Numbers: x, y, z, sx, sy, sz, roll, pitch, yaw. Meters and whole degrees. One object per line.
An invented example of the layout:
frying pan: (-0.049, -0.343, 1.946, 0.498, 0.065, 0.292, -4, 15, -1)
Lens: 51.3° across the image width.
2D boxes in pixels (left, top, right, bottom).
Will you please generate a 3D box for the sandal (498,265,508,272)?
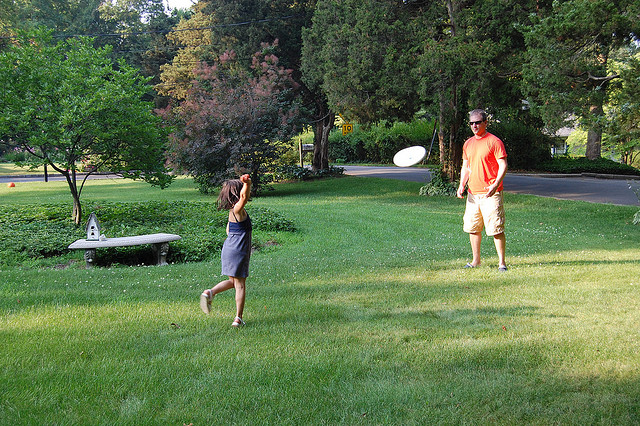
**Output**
sandal: (4.025, 1.202, 14.558, 0.226, 0.090, 0.218, -2, 10, -6)

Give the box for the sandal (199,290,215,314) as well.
sandal: (-2.158, 1.709, 12.467, 0.187, 0.507, 0.217, 5, 34, 19)

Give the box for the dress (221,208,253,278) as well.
dress: (-1.569, 0.585, 12.435, 0.545, 1.234, 0.375, -2, 9, -6)

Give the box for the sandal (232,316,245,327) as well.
sandal: (-1.520, 2.028, 12.381, 0.139, 0.164, 0.393, 0, -4, 0)

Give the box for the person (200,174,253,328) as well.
person: (-1.704, 0.678, 12.402, 0.862, 2.752, 0.688, -2, 9, -5)

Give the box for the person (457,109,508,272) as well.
person: (3.659, -0.525, 14.839, 1.053, 3.513, 0.955, 1, 9, 11)
